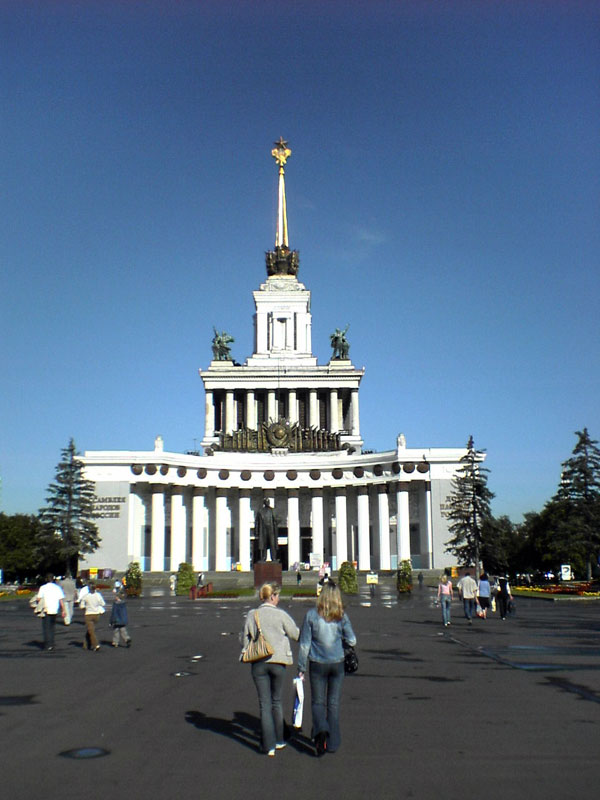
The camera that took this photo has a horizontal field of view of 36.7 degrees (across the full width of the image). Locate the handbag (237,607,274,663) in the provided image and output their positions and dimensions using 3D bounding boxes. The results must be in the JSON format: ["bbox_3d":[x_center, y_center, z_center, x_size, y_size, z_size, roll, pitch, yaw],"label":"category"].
[{"bbox_3d":[-0.390,2.344,8.872,0.267,0.497,0.252,-13,-34,6],"label":"handbag"}]

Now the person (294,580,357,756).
[{"bbox_3d":[0.247,2.591,8.776,0.379,1.540,0.605,-8,-11,30],"label":"person"}]

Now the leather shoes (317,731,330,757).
[{"bbox_3d":[0.207,3.220,8.469,0.100,0.206,0.174,-3,-10,7],"label":"leather shoes"}]
